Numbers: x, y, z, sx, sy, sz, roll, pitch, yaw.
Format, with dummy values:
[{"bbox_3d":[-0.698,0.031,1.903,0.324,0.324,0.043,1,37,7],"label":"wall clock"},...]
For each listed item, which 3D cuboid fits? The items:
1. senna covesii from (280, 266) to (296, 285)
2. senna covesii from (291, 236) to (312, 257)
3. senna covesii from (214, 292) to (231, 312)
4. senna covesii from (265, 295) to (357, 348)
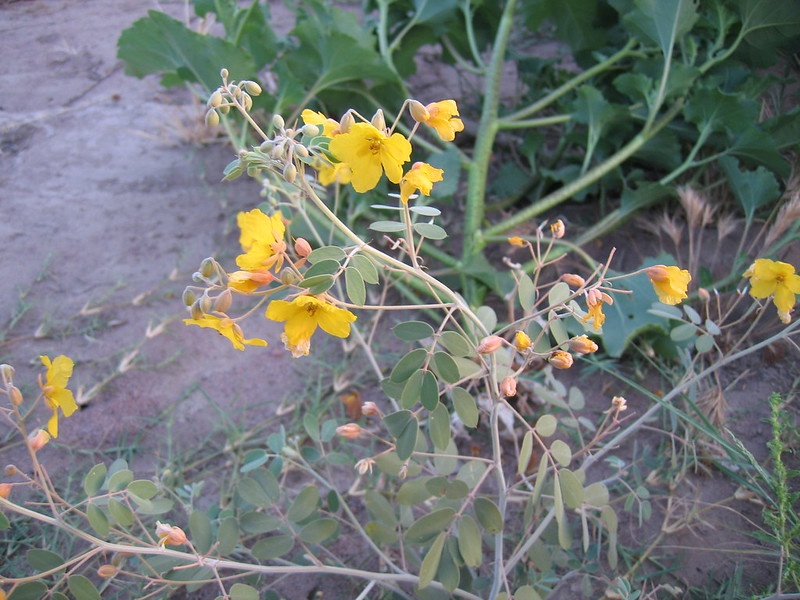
[{"bbox_3d":[-0.297,-0.066,1.918,0.041,0.053,0.043,0,6,11],"label":"senna covesii"},{"bbox_3d":[-0.271,-0.136,1.986,0.036,0.027,0.071,-37,62,5],"label":"senna covesii"},{"bbox_3d":[-0.478,0.008,1.951,0.059,0.041,0.020,-68,13,-8],"label":"senna covesii"},{"bbox_3d":[-0.242,0.023,1.934,0.243,0.112,0.163,0,-3,-39],"label":"senna covesii"}]
